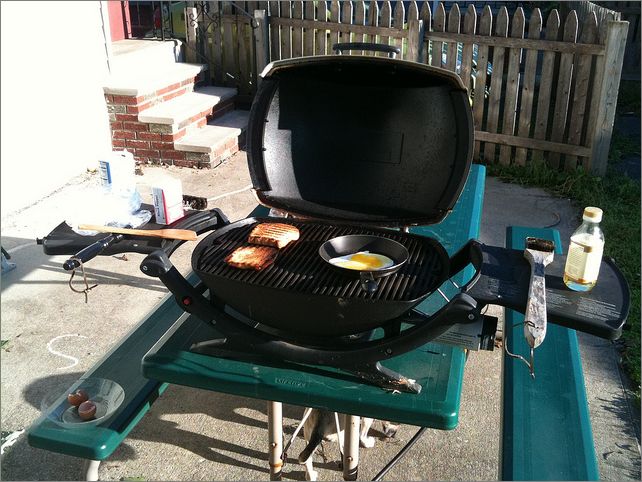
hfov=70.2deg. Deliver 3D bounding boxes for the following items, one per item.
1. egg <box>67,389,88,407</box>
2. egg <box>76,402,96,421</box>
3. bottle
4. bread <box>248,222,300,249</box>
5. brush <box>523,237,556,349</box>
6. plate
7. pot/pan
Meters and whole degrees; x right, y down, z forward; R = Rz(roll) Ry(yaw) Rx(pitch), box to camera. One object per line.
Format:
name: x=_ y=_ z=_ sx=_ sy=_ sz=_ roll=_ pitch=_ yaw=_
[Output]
egg: x=-0.896 y=0.575 z=1.683 sx=0.050 sy=0.036 sz=0.058 roll=13 pitch=24 yaw=20
egg: x=-0.842 y=0.604 z=1.641 sx=0.045 sy=0.049 sz=0.060 roll=-4 pitch=25 yaw=-10
bottle: x=0.909 y=0.044 z=1.606 sx=0.120 sy=0.316 sz=0.119 roll=3 pitch=19 yaw=-1
bread: x=-0.179 y=-0.026 z=1.680 sx=0.107 sy=0.029 sz=0.117 roll=9 pitch=29 yaw=16
brush: x=0.704 y=0.135 z=1.503 sx=0.102 sy=0.127 sz=0.578 roll=14 pitch=30 yaw=24
plate: x=-0.875 y=0.605 z=1.711 sx=0.274 sy=0.117 sz=0.256 roll=-2 pitch=28 yaw=-6
pot/pan: x=0.137 y=0.059 z=1.577 sx=0.354 sy=0.167 sz=0.256 roll=14 pitch=24 yaw=29
